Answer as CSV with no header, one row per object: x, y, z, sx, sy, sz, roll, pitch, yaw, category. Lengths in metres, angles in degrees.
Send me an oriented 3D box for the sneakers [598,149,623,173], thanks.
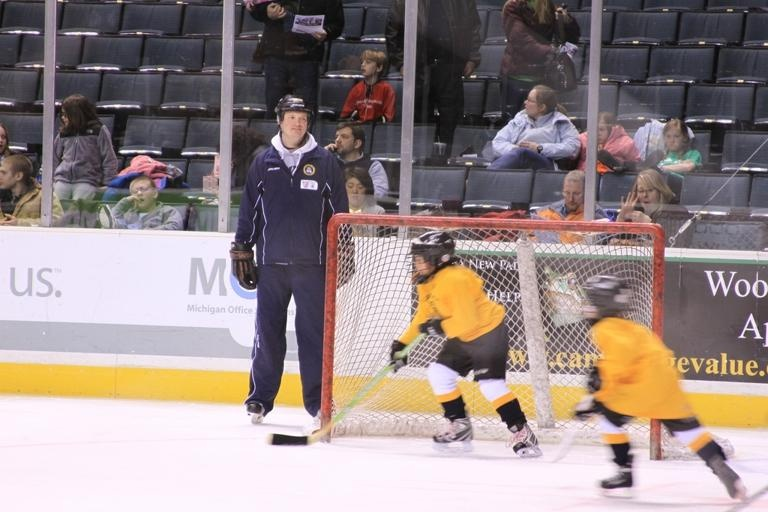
1.650,-0.698,9.689,0.204,0.146,0.084,28,38,1,sneakers

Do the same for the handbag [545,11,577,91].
1.304,-1.495,9.634,0.233,0.559,0.103,3,10,-4,handbag

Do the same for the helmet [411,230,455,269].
0.332,-0.054,8.839,0.303,0.206,0.208,3,1,0,helmet

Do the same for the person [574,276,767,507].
1.678,0.839,8.178,0.952,1.365,0.265,4,10,8,person

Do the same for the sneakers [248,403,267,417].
-0.904,1.099,9.323,0.093,0.104,0.119,13,-21,17,sneakers

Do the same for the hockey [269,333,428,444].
-0.215,0.950,9.277,0.149,1.015,0.134,51,-6,-35,hockey

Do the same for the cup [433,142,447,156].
0.410,-0.796,9.719,0.101,0.077,0.100,-1,1,0,cup

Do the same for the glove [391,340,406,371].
0.118,0.682,8.812,0.067,0.180,0.131,0,-36,5,glove

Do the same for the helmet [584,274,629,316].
1.454,0.243,8.226,0.293,0.236,0.219,-18,22,-37,helmet
